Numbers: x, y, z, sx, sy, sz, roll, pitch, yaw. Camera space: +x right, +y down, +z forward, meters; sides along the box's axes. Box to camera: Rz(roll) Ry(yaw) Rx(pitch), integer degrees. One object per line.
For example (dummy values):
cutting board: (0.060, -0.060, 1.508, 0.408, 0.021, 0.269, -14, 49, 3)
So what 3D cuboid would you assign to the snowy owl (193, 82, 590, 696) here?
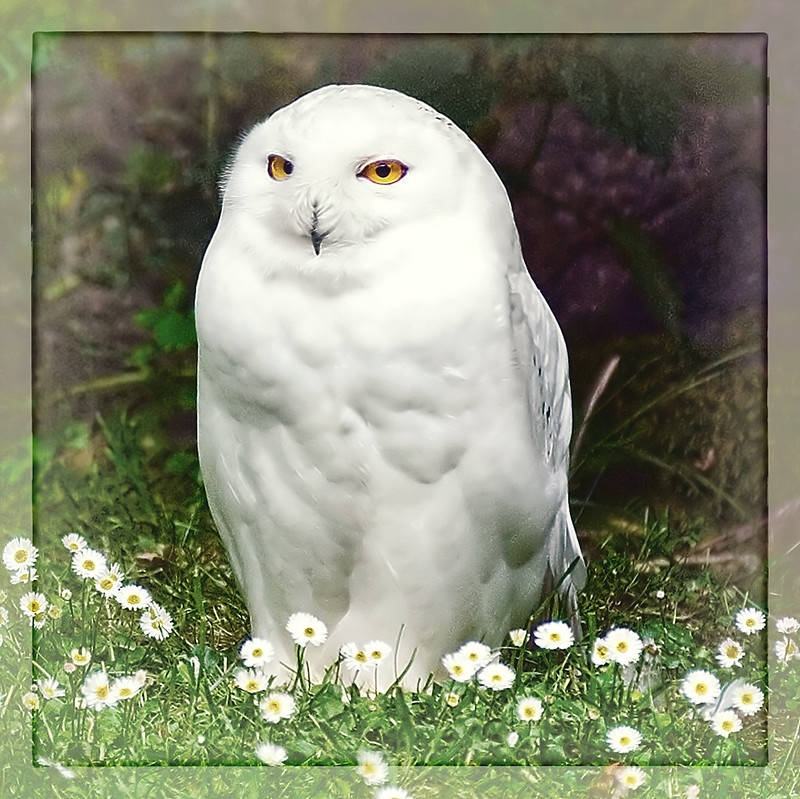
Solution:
snowy owl: (-0.007, -0.012, 2.836, 0.823, 1.037, 0.746, 3, 6, 3)
